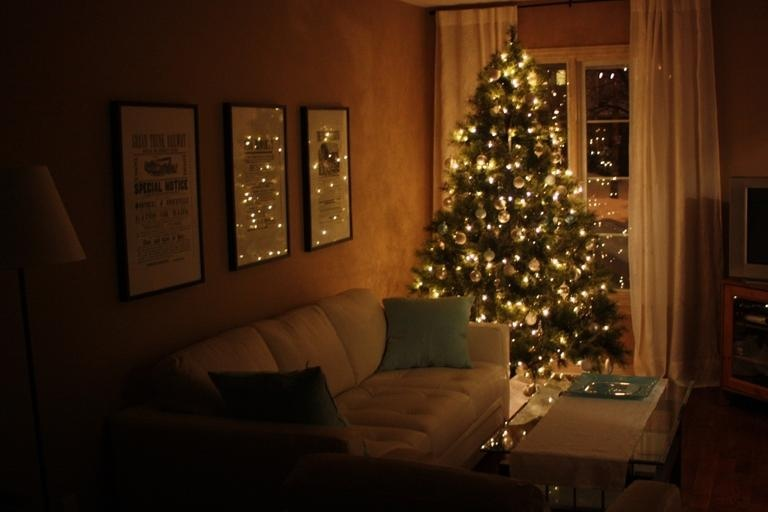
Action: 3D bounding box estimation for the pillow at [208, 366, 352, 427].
[{"bbox_3d":[-0.501,0.705,3.132,0.384,0.157,0.395,1,-23,11],"label":"pillow"}]

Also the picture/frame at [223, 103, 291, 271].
[{"bbox_3d":[-0.875,-0.510,4.380,0.083,1.109,0.634,4,10,28],"label":"picture/frame"}]

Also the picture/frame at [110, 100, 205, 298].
[{"bbox_3d":[-1.314,-0.345,3.667,0.084,1.102,0.627,5,10,31],"label":"picture/frame"}]
